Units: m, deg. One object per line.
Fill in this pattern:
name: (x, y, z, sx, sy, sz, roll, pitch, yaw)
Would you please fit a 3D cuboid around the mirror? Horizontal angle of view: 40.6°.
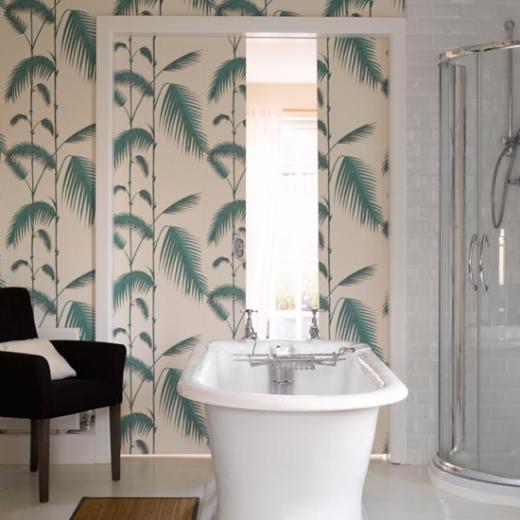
mirror: (0.152, -0.399, 4.716, 0.503, 1.939, 0.871, 0, 7, 0)
